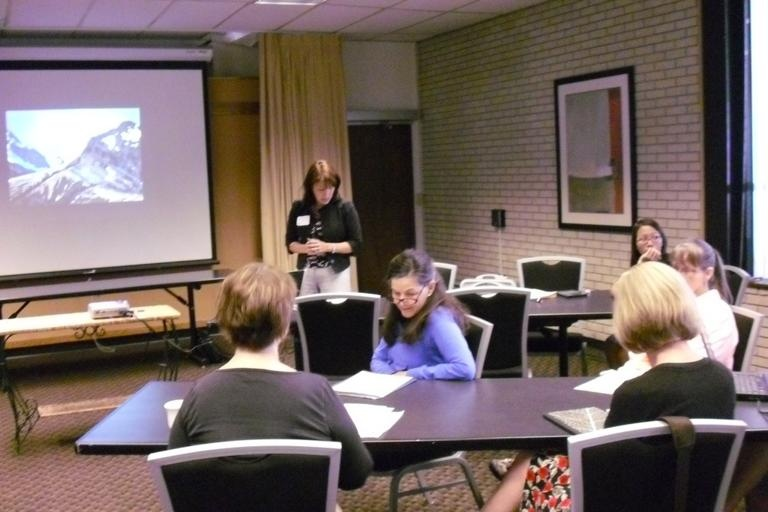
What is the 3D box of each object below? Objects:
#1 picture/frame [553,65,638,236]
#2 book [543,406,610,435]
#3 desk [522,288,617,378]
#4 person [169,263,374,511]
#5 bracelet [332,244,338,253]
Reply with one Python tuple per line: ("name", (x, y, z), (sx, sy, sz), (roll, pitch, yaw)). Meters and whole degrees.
("picture/frame", (2.147, -1.060, 6.076), (0.183, 1.605, 1.035), (-8, 13, -26))
("book", (0.839, 0.711, 2.573), (0.148, 0.020, 0.131), (-11, 15, -28))
("desk", (1.376, 0.530, 4.488), (0.705, 0.634, 0.700), (1, 5, 26))
("person", (-0.439, 0.417, 2.486), (0.927, 1.171, 0.763), (2, 11, 1))
("bracelet", (-0.431, -0.061, 5.125), (0.048, 0.086, 0.048), (-4, 11, -6))
